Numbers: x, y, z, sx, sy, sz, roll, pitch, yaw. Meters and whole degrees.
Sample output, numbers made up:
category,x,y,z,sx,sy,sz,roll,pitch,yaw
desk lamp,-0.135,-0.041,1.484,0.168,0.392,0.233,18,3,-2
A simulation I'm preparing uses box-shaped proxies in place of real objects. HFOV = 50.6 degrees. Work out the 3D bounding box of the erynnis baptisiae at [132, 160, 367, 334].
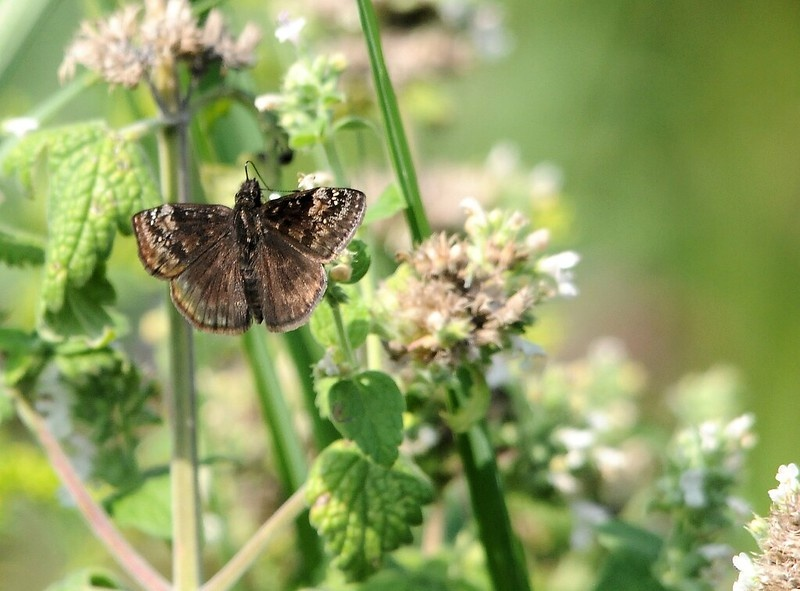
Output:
category,x,y,z,sx,sy,sz,roll,pitch,yaw
erynnis baptisiae,-0.155,-0.041,0.905,0.238,0.058,0.169,-22,-51,-39
